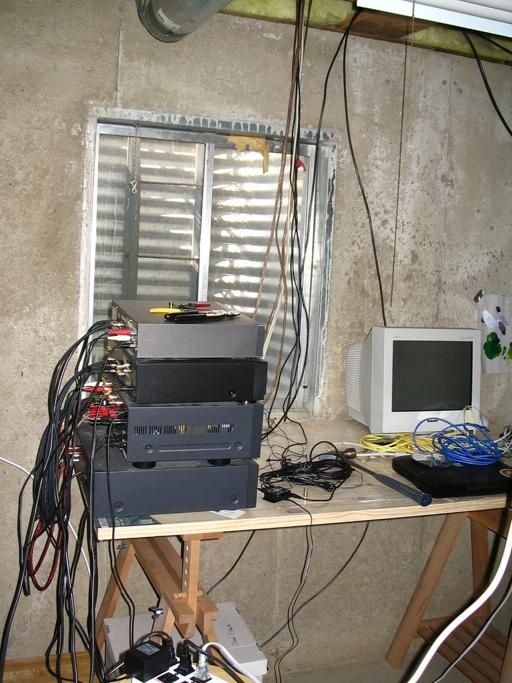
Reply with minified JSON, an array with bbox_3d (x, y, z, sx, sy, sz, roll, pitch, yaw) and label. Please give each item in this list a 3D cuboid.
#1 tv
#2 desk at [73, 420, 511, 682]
[{"bbox_3d":[0.592,0.125,2.684,0.423,0.381,0.415,0,3,-13],"label":"tv"},{"bbox_3d":[0.065,0.606,2.080,1.098,0.829,0.739,-5,9,-17],"label":"desk"}]
